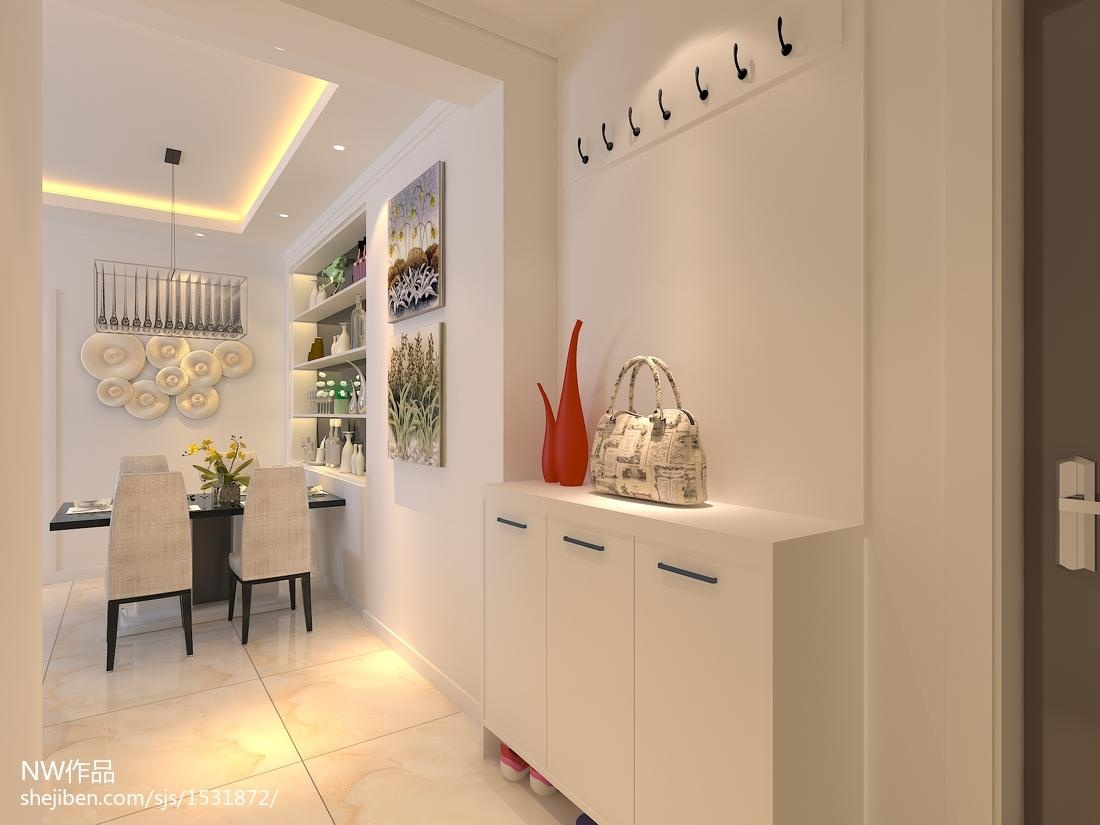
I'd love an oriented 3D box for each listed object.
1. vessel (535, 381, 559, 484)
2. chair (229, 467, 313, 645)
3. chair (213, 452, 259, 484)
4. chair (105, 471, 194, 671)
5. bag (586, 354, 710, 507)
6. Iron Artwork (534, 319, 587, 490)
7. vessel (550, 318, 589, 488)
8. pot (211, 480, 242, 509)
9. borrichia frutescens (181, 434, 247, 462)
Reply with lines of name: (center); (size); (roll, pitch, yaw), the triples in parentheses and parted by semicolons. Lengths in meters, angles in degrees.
vessel: (0.006, 0.097, 3.305); (0.088, 0.417, 0.088); (1, 5, 35)
chair: (-1.686, 0.796, 4.792); (0.466, 1.030, 0.508); (-4, 10, -40)
chair: (-2.158, 0.385, 5.416); (0.204, 0.172, 0.237); (0, 6, 0)
chair: (-2.160, 0.835, 4.249); (0.428, 0.980, 0.350); (-3, 7, -28)
bag: (0.340, 0.066, 2.888); (0.156, 0.529, 0.475); (3, 0, -44)
Iron Artwork: (0.065, -0.033, 3.269); (0.213, 0.670, 0.175); (-2, -2, 28)
vessel: (0.090, -0.040, 3.231); (0.138, 0.668, 0.204); (0, 7, -6)
pot: (-2.067, 0.528, 5.050); (0.146, 0.168, 0.120); (3, -13, -2)
borrichia frutescens: (-2.551, 0.268, 5.952); (0.296, 0.144, 0.203); (0, 2, -36)
